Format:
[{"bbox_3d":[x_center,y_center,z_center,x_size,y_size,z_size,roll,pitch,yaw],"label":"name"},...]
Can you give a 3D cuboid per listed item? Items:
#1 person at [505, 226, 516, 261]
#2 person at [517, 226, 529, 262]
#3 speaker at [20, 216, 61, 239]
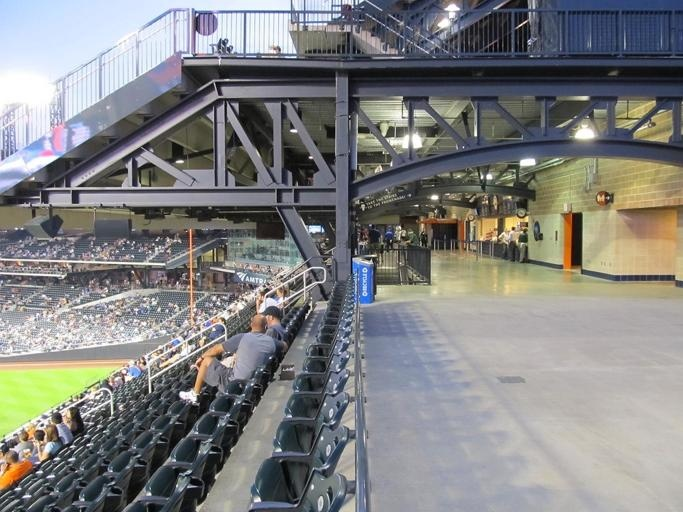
[{"bbox_3d":[8.734,-0.506,28.383,0.369,1.553,0.979,0,10,2],"label":"person"},{"bbox_3d":[8.913,-0.481,27.244,0.436,1.490,0.901,2,10,15],"label":"person"},{"bbox_3d":[-7.554,-0.703,13.975,0.669,0.559,0.706,-7,2,20],"label":"speaker"}]
